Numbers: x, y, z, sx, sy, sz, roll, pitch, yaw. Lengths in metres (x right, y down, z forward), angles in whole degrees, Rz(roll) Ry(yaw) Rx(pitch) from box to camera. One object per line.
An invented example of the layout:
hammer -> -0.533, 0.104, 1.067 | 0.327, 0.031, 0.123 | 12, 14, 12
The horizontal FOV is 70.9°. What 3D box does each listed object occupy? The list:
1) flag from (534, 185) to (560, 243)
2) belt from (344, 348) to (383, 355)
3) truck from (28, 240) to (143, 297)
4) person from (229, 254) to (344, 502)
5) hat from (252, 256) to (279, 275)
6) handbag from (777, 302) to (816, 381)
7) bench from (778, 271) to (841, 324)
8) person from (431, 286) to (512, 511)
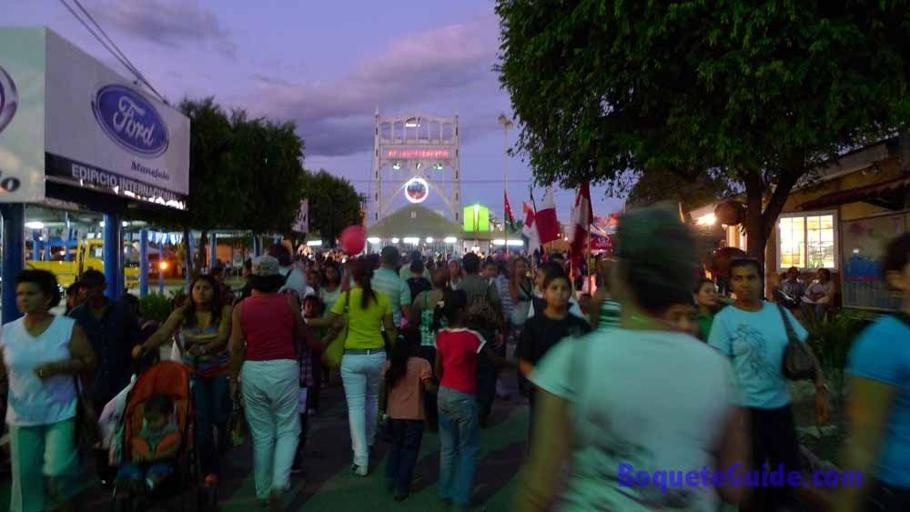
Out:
flag -> 1.977, -0.880, 14.100 | 0.632, 1.546, 0.055 | -2, -35, 10
belt -> -1.396, 1.430, 9.621 | 0.599, 0.104, 0.121 | 1, -1, -6
truck -> -18.696, 0.605, 30.193 | 4.516, 2.090, 1.542 | -7, 5, -31
person -> -2.625, 1.704, 8.869 | 0.929, 3.391, 0.367 | 2, -2, -14
hat -> -2.611, 0.132, 8.775 | 0.269, 0.176, 0.277 | 1, 0, -4
handbag -> 4.161, 1.042, 7.799 | 0.455, 0.904, 0.233 | 0, -2, 21
bench -> 9.257, 1.098, 16.406 | 0.912, 1.622, 0.667 | 1, 1, -42
person -> 0.024, 1.992, 8.881 | 0.640, 3.029, 0.353 | 1, -2, 4
